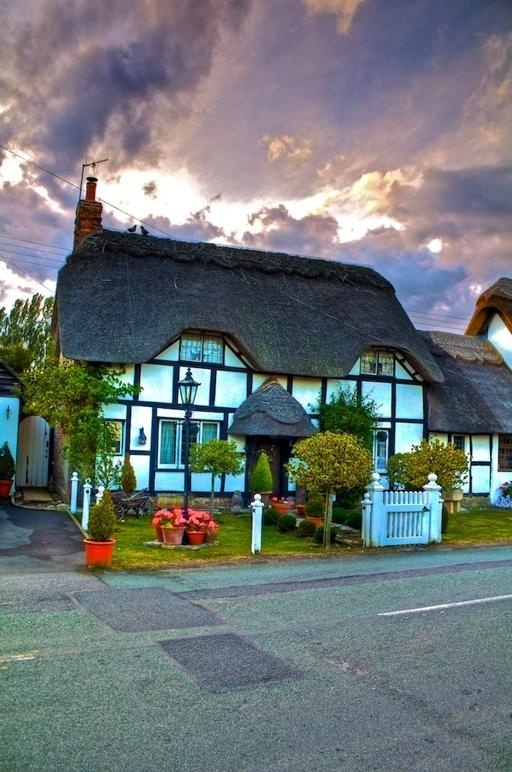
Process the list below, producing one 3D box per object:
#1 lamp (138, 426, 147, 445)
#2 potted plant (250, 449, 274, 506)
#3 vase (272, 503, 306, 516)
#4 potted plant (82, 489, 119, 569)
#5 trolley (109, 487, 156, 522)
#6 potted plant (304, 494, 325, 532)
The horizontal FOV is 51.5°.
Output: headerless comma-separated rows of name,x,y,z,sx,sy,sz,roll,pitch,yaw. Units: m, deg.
lamp,-4.011,1.793,18.743,0.329,0.546,0.201,0,-1,-8
potted plant,0.192,3.338,19.113,0.766,1.835,1.356,1,-4,-1
vase,1.169,4.460,18.788,0.896,0.322,0.830,1,-8,-6
potted plant,-2.889,2.675,9.893,0.512,1.484,0.706,3,-4,-16
trolley,-4.012,3.807,17.685,1.073,1.068,1.756,0,1,37
potted plant,1.796,3.799,16.286,0.754,1.096,0.742,0,0,-15
